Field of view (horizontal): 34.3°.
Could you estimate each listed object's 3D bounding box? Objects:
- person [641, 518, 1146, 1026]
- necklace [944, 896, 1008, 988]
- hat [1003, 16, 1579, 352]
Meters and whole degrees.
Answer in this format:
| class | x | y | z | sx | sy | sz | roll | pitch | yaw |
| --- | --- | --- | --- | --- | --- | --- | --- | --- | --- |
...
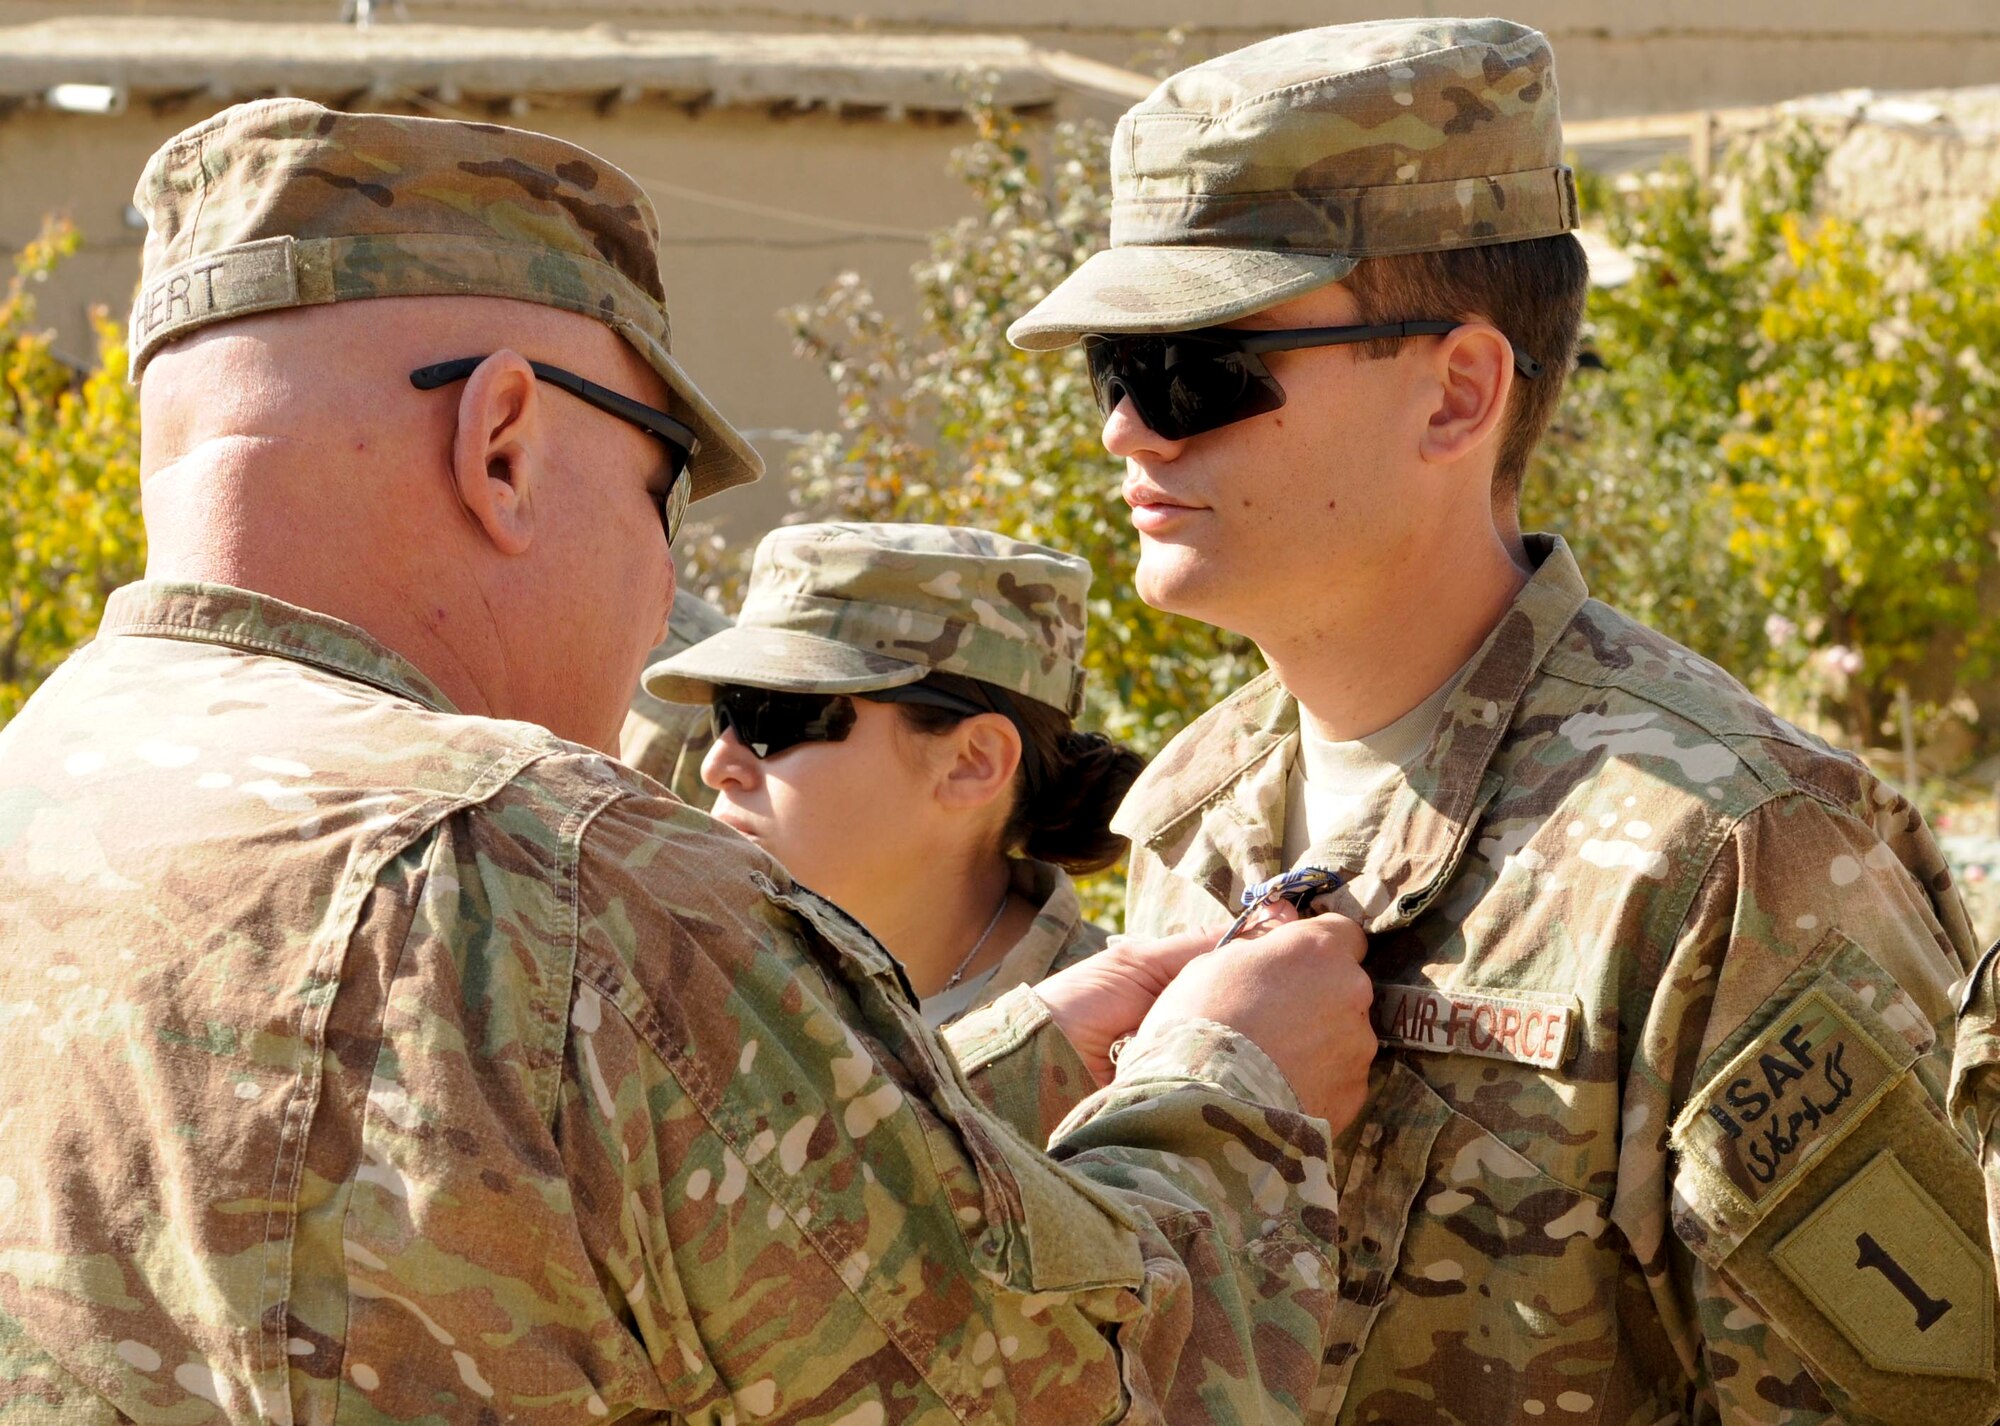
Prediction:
| class | x | y | z | sx | sy | sz | roll | pitch | yaw |
| --- | --- | --- | --- | --- | --- | --- | --- | --- | --- |
| person | -0.302 | 0.087 | 6.341 | 0.951 | 1.021 | 0.752 | 1 | -1 | -21 |
| necklace | -0.032 | 0.423 | 6.008 | 0.033 | 0.141 | 0.076 | 35 | -9 | 5 |
| hat | 0.502 | -0.861 | 5.148 | 0.710 | 0.357 | 0.492 | -6 | 1 | -14 |
